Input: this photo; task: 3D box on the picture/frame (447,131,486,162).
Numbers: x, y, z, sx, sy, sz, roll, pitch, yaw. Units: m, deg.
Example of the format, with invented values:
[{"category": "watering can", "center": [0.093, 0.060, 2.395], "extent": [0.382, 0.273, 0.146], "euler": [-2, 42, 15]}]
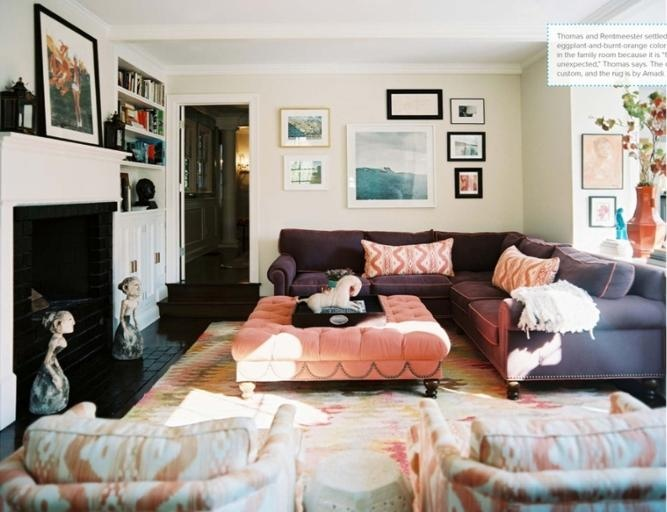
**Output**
[{"category": "picture/frame", "center": [1.610, -1.340, 5.770], "extent": [0.343, 0.254, 0.014], "euler": [-1, 8, -2]}]

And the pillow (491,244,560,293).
[{"category": "pillow", "center": [1.672, 0.149, 4.218], "extent": [0.313, 0.323, 0.833], "euler": [-8, 9, -3]}]

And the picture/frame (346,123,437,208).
[{"category": "picture/frame", "center": [0.687, -1.142, 5.771], "extent": [0.995, 0.873, 0.085], "euler": [0, 0, -2]}]

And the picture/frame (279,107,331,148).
[{"category": "picture/frame", "center": [-0.361, -1.565, 5.736], "extent": [0.471, 0.352, 0.018], "euler": [0, 1, -3]}]

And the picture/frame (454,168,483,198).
[{"category": "picture/frame", "center": [1.657, -0.905, 5.808], "extent": [0.354, 0.378, 0.030], "euler": [0, 5, 0]}]

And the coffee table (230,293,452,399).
[{"category": "coffee table", "center": [0.057, 0.694, 3.582], "extent": [1.485, 0.568, 0.727], "euler": [-1, 7, -1]}]

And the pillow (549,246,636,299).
[{"category": "pillow", "center": [1.954, 0.139, 3.669], "extent": [0.351, 0.257, 0.703], "euler": [-1, 7, 2]}]

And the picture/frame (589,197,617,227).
[{"category": "picture/frame", "center": [2.658, -0.445, 4.670], "extent": [0.301, 0.373, 0.026], "euler": [-1, 2, 4]}]

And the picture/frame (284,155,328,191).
[{"category": "picture/frame", "center": [-0.343, -1.029, 5.770], "extent": [0.422, 0.357, 0.015], "euler": [0, 1, -4]}]
